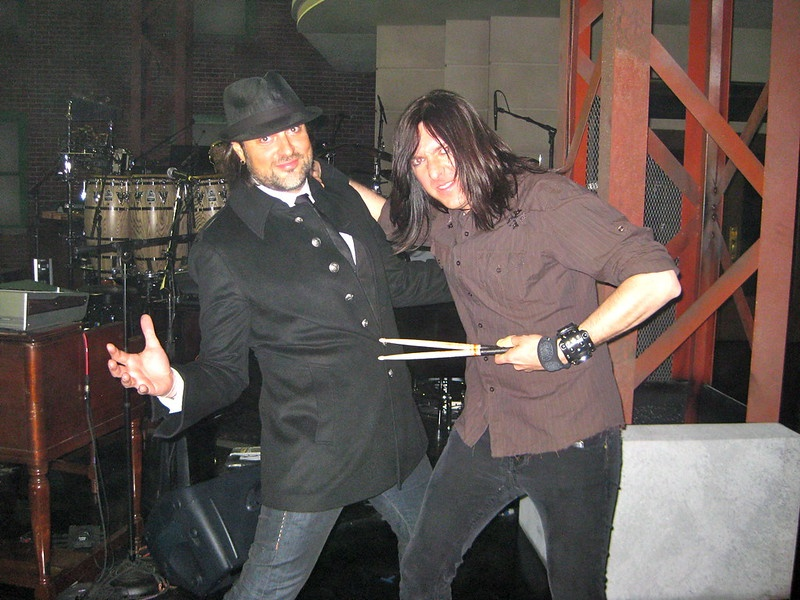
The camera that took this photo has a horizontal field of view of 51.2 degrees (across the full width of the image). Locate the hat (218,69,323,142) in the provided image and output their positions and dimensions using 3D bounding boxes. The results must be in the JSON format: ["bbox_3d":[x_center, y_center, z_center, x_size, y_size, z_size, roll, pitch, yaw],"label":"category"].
[{"bbox_3d":[-0.670,-0.984,4.139,0.546,0.251,0.666,-26,20,-25],"label":"hat"}]

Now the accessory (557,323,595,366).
[{"bbox_3d":[0.756,0.198,3.577,0.157,0.187,0.083,0,7,8],"label":"accessory"}]
